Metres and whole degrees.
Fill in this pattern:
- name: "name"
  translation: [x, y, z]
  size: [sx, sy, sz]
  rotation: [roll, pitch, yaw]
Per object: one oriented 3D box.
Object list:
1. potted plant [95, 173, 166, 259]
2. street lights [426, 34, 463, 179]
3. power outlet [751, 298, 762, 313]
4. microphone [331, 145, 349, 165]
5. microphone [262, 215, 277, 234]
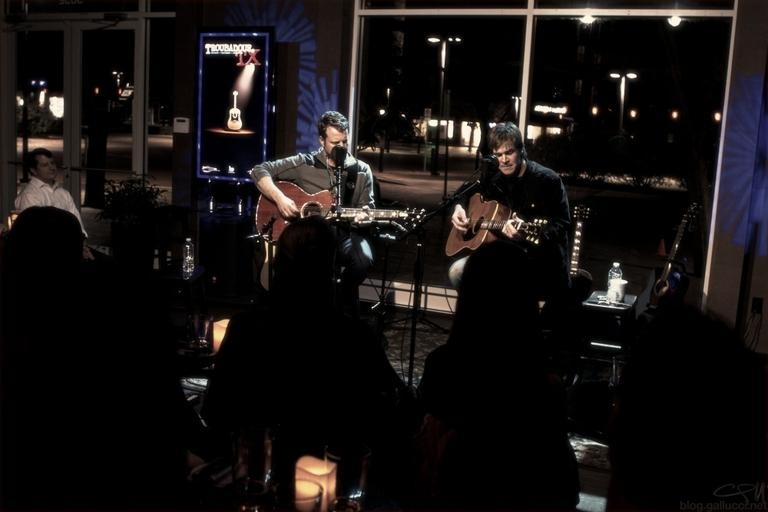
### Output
- name: "potted plant"
  translation: [-2.885, -0.425, 8.059]
  size: [0.933, 1.178, 0.865]
  rotation: [0, -4, -10]
- name: "street lights"
  translation: [0.612, -1.466, 7.091]
  size: [0.423, 1.448, 0.435]
  rotation: [1, 20, 11]
- name: "power outlet"
  translation: [3.209, 0.421, 5.924]
  size: [0.029, 0.118, 0.106]
  rotation: [6, -6, -44]
- name: "microphone"
  translation: [-0.346, -0.772, 5.297]
  size: [0.131, 0.211, 0.146]
  rotation: [1, -6, -13]
- name: "microphone"
  translation: [-1.000, -0.251, 5.856]
  size: [0.154, 0.156, 0.089]
  rotation: [5, 6, 35]
